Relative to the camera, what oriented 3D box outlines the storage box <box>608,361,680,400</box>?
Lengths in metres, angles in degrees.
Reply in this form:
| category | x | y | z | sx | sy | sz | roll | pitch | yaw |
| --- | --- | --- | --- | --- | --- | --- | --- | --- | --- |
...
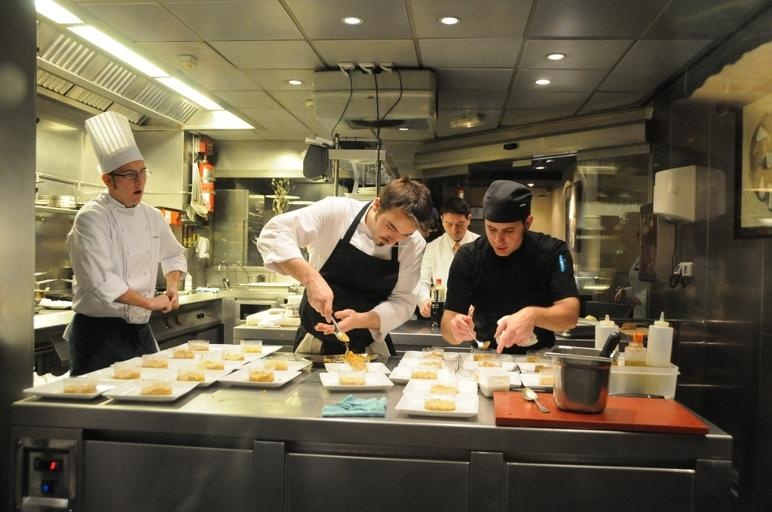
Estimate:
| category | x | y | z | sx | sy | sz | roll | pitch | yaw |
| --- | --- | --- | --- | --- | --- | --- | --- | --- | --- |
| storage box | 1.326 | 0.616 | 3.002 | 0.332 | 0.196 | 0.186 | -1 | 22 | 3 |

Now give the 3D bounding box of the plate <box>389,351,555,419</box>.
| category | x | y | z | sx | sy | sz | roll | pitch | yaw |
| --- | --- | --- | --- | --- | --- | --- | --- | --- | --- |
| plate | 0.461 | 0.652 | 3.044 | 0.864 | 0.317 | 0.684 | -2 | 0 | -1 |

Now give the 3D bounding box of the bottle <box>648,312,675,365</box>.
| category | x | y | z | sx | sy | sz | roll | pitch | yaw |
| --- | --- | --- | --- | --- | --- | --- | --- | --- | --- |
| bottle | 1.418 | 0.436 | 2.962 | 0.112 | 0.262 | 0.190 | -2 | 0 | 38 |

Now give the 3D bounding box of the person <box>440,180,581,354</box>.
| category | x | y | z | sx | sy | sz | roll | pitch | yaw |
| --- | --- | --- | --- | --- | --- | --- | --- | --- | --- |
| person | 0.717 | 0.086 | 3.448 | 0.808 | 1.065 | 0.642 | -2 | 0 | 16 |

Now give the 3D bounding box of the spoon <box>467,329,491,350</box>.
| category | x | y | z | sx | sy | sz | roll | pitch | yaw |
| --- | --- | --- | --- | --- | --- | --- | --- | --- | --- |
| spoon | 0.608 | 0.542 | 3.627 | 0.101 | 0.190 | 0.033 | -13 | -29 | -38 |

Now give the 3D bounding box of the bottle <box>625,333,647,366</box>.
| category | x | y | z | sx | sy | sz | roll | pitch | yaw |
| --- | --- | --- | --- | --- | --- | --- | --- | --- | --- |
| bottle | 1.284 | 0.466 | 2.946 | 0.084 | 0.091 | 0.078 | 7 | 6 | -17 |

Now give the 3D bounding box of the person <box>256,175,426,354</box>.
| category | x | y | z | sx | sy | sz | roll | pitch | yaw |
| --- | --- | --- | --- | --- | --- | --- | --- | --- | --- |
| person | -0.222 | 0.100 | 3.389 | 1.004 | 1.063 | 0.533 | -2 | 0 | -1 |

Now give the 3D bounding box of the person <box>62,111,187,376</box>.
| category | x | y | z | sx | sy | sz | roll | pitch | yaw |
| --- | --- | --- | --- | --- | --- | --- | --- | --- | --- |
| person | -1.729 | -0.120 | 3.844 | 0.711 | 1.759 | 0.576 | -2 | 0 | -30 |

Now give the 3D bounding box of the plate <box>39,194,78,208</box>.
| category | x | y | z | sx | sy | sz | roll | pitch | yaw |
| --- | --- | --- | --- | --- | --- | --- | --- | --- | --- |
| plate | -2.888 | -0.482 | 5.128 | 0.202 | 0.064 | 0.184 | 0 | -1 | 18 |

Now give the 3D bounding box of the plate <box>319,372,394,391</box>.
| category | x | y | z | sx | sy | sz | roll | pitch | yaw |
| --- | --- | --- | --- | --- | --- | --- | --- | --- | --- |
| plate | -0.150 | 0.660 | 3.031 | 0.378 | 0.090 | 0.153 | -2 | 0 | -5 |

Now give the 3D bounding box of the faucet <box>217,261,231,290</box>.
| category | x | y | z | sx | sy | sz | roll | pitch | yaw |
| --- | --- | --- | --- | --- | --- | --- | --- | --- | --- |
| faucet | -2.023 | 0.244 | 7.314 | 0.137 | 0.348 | 0.267 | -2 | 0 | -30 |

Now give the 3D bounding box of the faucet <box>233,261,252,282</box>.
| category | x | y | z | sx | sy | sz | roll | pitch | yaw |
| --- | --- | --- | --- | --- | --- | --- | --- | --- | --- |
| faucet | -1.838 | 0.171 | 7.455 | 0.229 | 0.255 | 0.287 | -7 | 8 | -29 |

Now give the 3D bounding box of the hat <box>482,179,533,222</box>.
| category | x | y | z | sx | sy | sz | roll | pitch | yaw |
| --- | --- | --- | --- | --- | --- | --- | --- | --- | --- |
| hat | 0.682 | -0.358 | 3.520 | 0.343 | 0.224 | 0.327 | 7 | 21 | 41 |
